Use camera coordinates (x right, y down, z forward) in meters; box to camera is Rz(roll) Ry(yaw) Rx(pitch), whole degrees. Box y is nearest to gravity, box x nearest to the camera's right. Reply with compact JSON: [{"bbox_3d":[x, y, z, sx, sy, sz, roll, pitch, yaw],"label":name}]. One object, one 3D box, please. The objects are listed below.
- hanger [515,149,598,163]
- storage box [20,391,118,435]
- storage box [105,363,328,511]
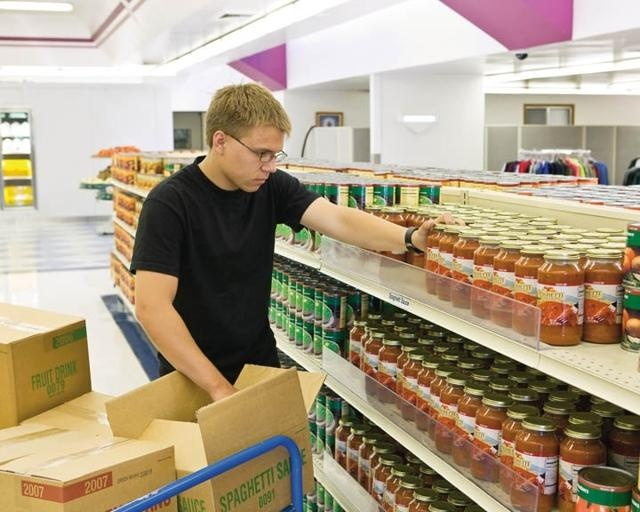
[{"bbox_3d":[3.595,-1.557,7.596,0.736,0.194,0.713,1,5,9],"label":"hanger"},{"bbox_3d":[-0.759,0.506,1.560,0.184,0.049,0.195,3,5,26],"label":"storage box"},{"bbox_3d":[-0.271,0.496,1.417,0.509,0.351,0.524,-5,2,10],"label":"storage box"}]
